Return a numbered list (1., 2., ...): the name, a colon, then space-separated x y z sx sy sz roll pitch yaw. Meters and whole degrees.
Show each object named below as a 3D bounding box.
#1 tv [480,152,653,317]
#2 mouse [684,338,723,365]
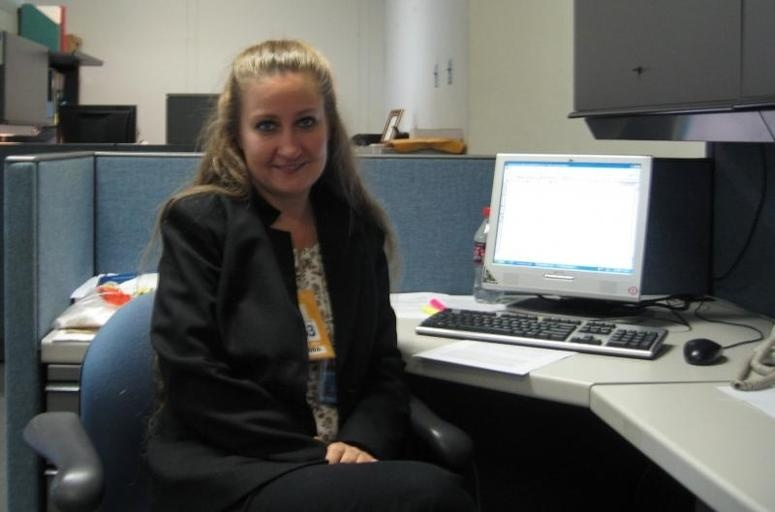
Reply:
1. tv: 0.565 -0.063 1.933 0.533 0.435 0.052 5 -6 19
2. mouse: 0.793 0.242 1.552 0.087 0.047 0.061 5 -9 -41
